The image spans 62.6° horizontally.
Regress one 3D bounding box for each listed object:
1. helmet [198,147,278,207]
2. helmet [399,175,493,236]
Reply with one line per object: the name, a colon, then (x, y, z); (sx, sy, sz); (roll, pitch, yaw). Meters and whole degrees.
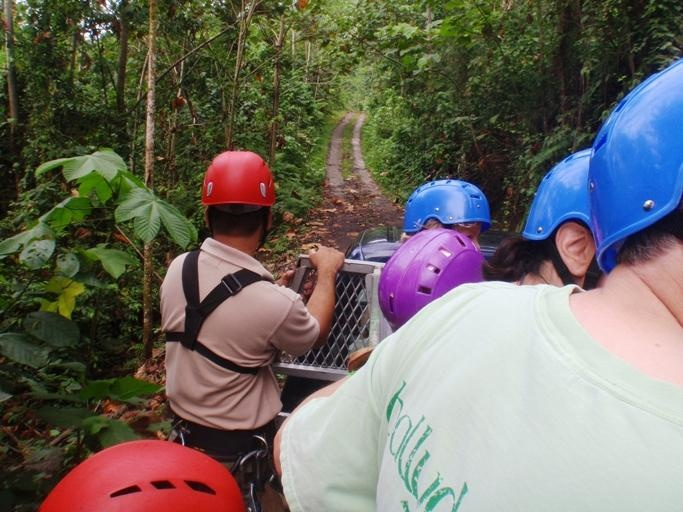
helmet: (-0.582, -0.462, 3.191); (0.270, 0.343, 0.366); (1, 18, -1)
helmet: (0.711, -0.285, 3.809); (0.461, 0.413, 0.365); (-1, -4, 37)
